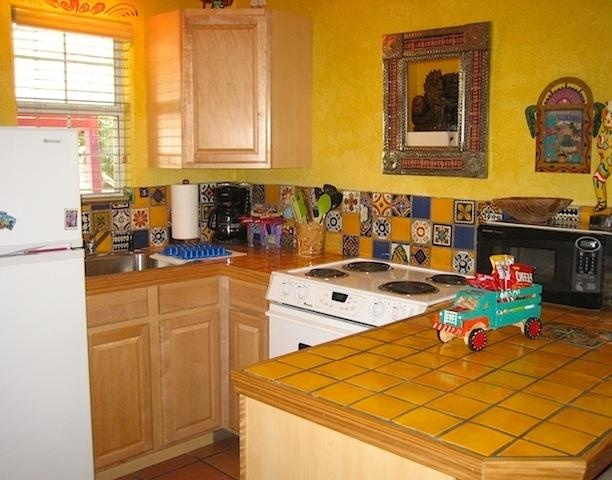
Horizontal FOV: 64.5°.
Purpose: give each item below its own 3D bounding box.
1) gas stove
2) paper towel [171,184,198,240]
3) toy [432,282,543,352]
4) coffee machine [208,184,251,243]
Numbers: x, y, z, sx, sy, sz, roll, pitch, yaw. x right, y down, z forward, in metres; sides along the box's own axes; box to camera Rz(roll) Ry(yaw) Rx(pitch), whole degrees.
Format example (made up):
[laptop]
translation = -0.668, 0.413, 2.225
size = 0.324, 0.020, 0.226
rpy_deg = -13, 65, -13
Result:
[gas stove]
translation = 0.349, 0.265, 2.537
size = 0.979, 0.196, 0.607
rpy_deg = 5, 9, 41
[paper towel]
translation = -0.826, -0.194, 3.324
size = 0.165, 0.368, 0.099
rpy_deg = -4, 7, -23
[toy]
translation = 0.582, 0.234, 1.561
size = 0.332, 0.157, 0.172
rpy_deg = -4, 5, -29
[coffee machine]
translation = -0.540, -0.186, 3.461
size = 0.424, 0.408, 0.213
rpy_deg = 5, 9, 41
